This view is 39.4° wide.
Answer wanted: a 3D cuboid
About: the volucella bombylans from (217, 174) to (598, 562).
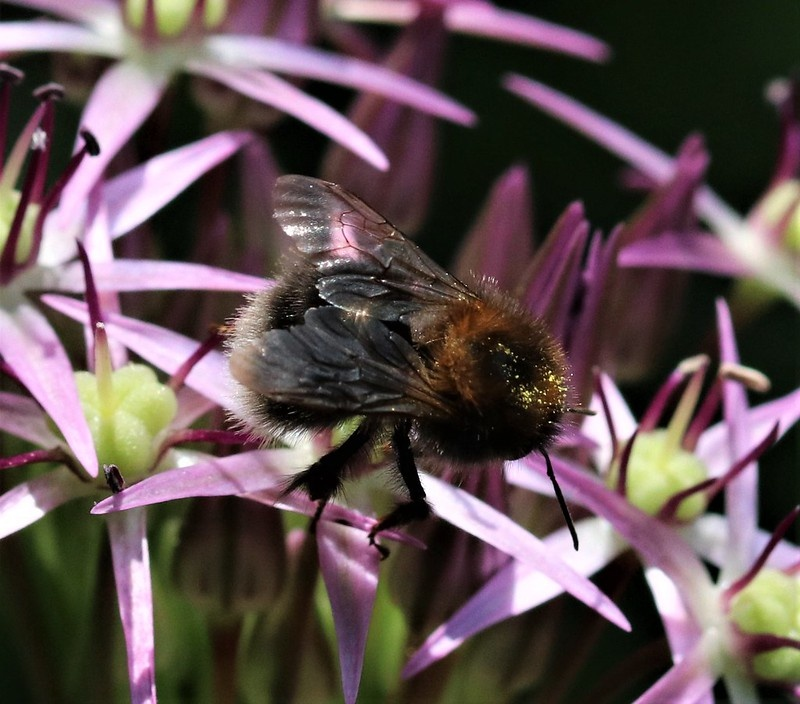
[{"bbox_3d":[-0.001,0.027,0.831,0.283,0.096,0.198,24,42,-23],"label":"volucella bombylans"}]
